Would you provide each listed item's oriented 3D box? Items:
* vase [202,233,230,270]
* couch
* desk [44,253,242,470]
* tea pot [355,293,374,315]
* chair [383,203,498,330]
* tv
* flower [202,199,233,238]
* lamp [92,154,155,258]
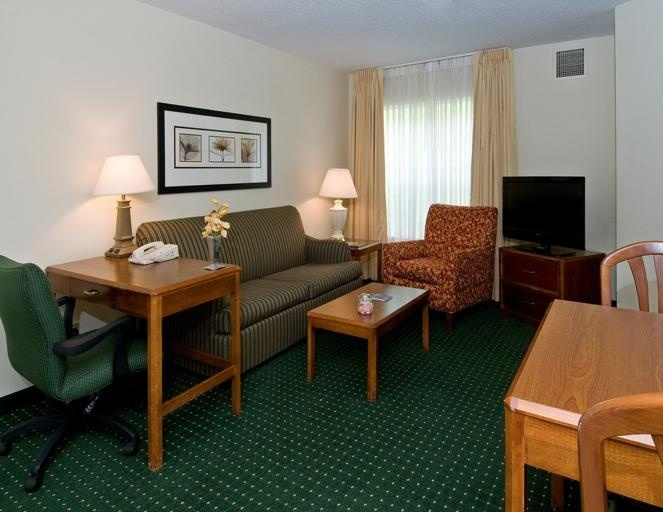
[{"bbox_3d":[-0.756,-0.026,3.098,0.162,0.197,0.164,0,8,-5],"label":"vase"},{"bbox_3d":[-0.577,0.159,4.322,0.933,1.110,1.914,2,10,33],"label":"couch"},{"bbox_3d":[-1.256,0.539,3.220,1.217,0.972,0.762,8,11,34],"label":"desk"},{"bbox_3d":[0.232,0.351,3.466,0.128,0.140,0.106,2,-3,-5],"label":"tea pot"},{"bbox_3d":[1.106,-0.006,4.899,0.855,0.917,1.015,13,20,42],"label":"chair"},{"bbox_3d":[1.998,-0.374,4.528,0.230,0.660,0.713,-2,3,-32],"label":"tv"},{"bbox_3d":[-0.762,-0.224,3.104,0.136,0.269,0.176,18,2,6],"label":"flower"},{"bbox_3d":[-1.436,-0.335,3.404,0.375,0.672,0.400,-5,-5,8],"label":"lamp"}]
